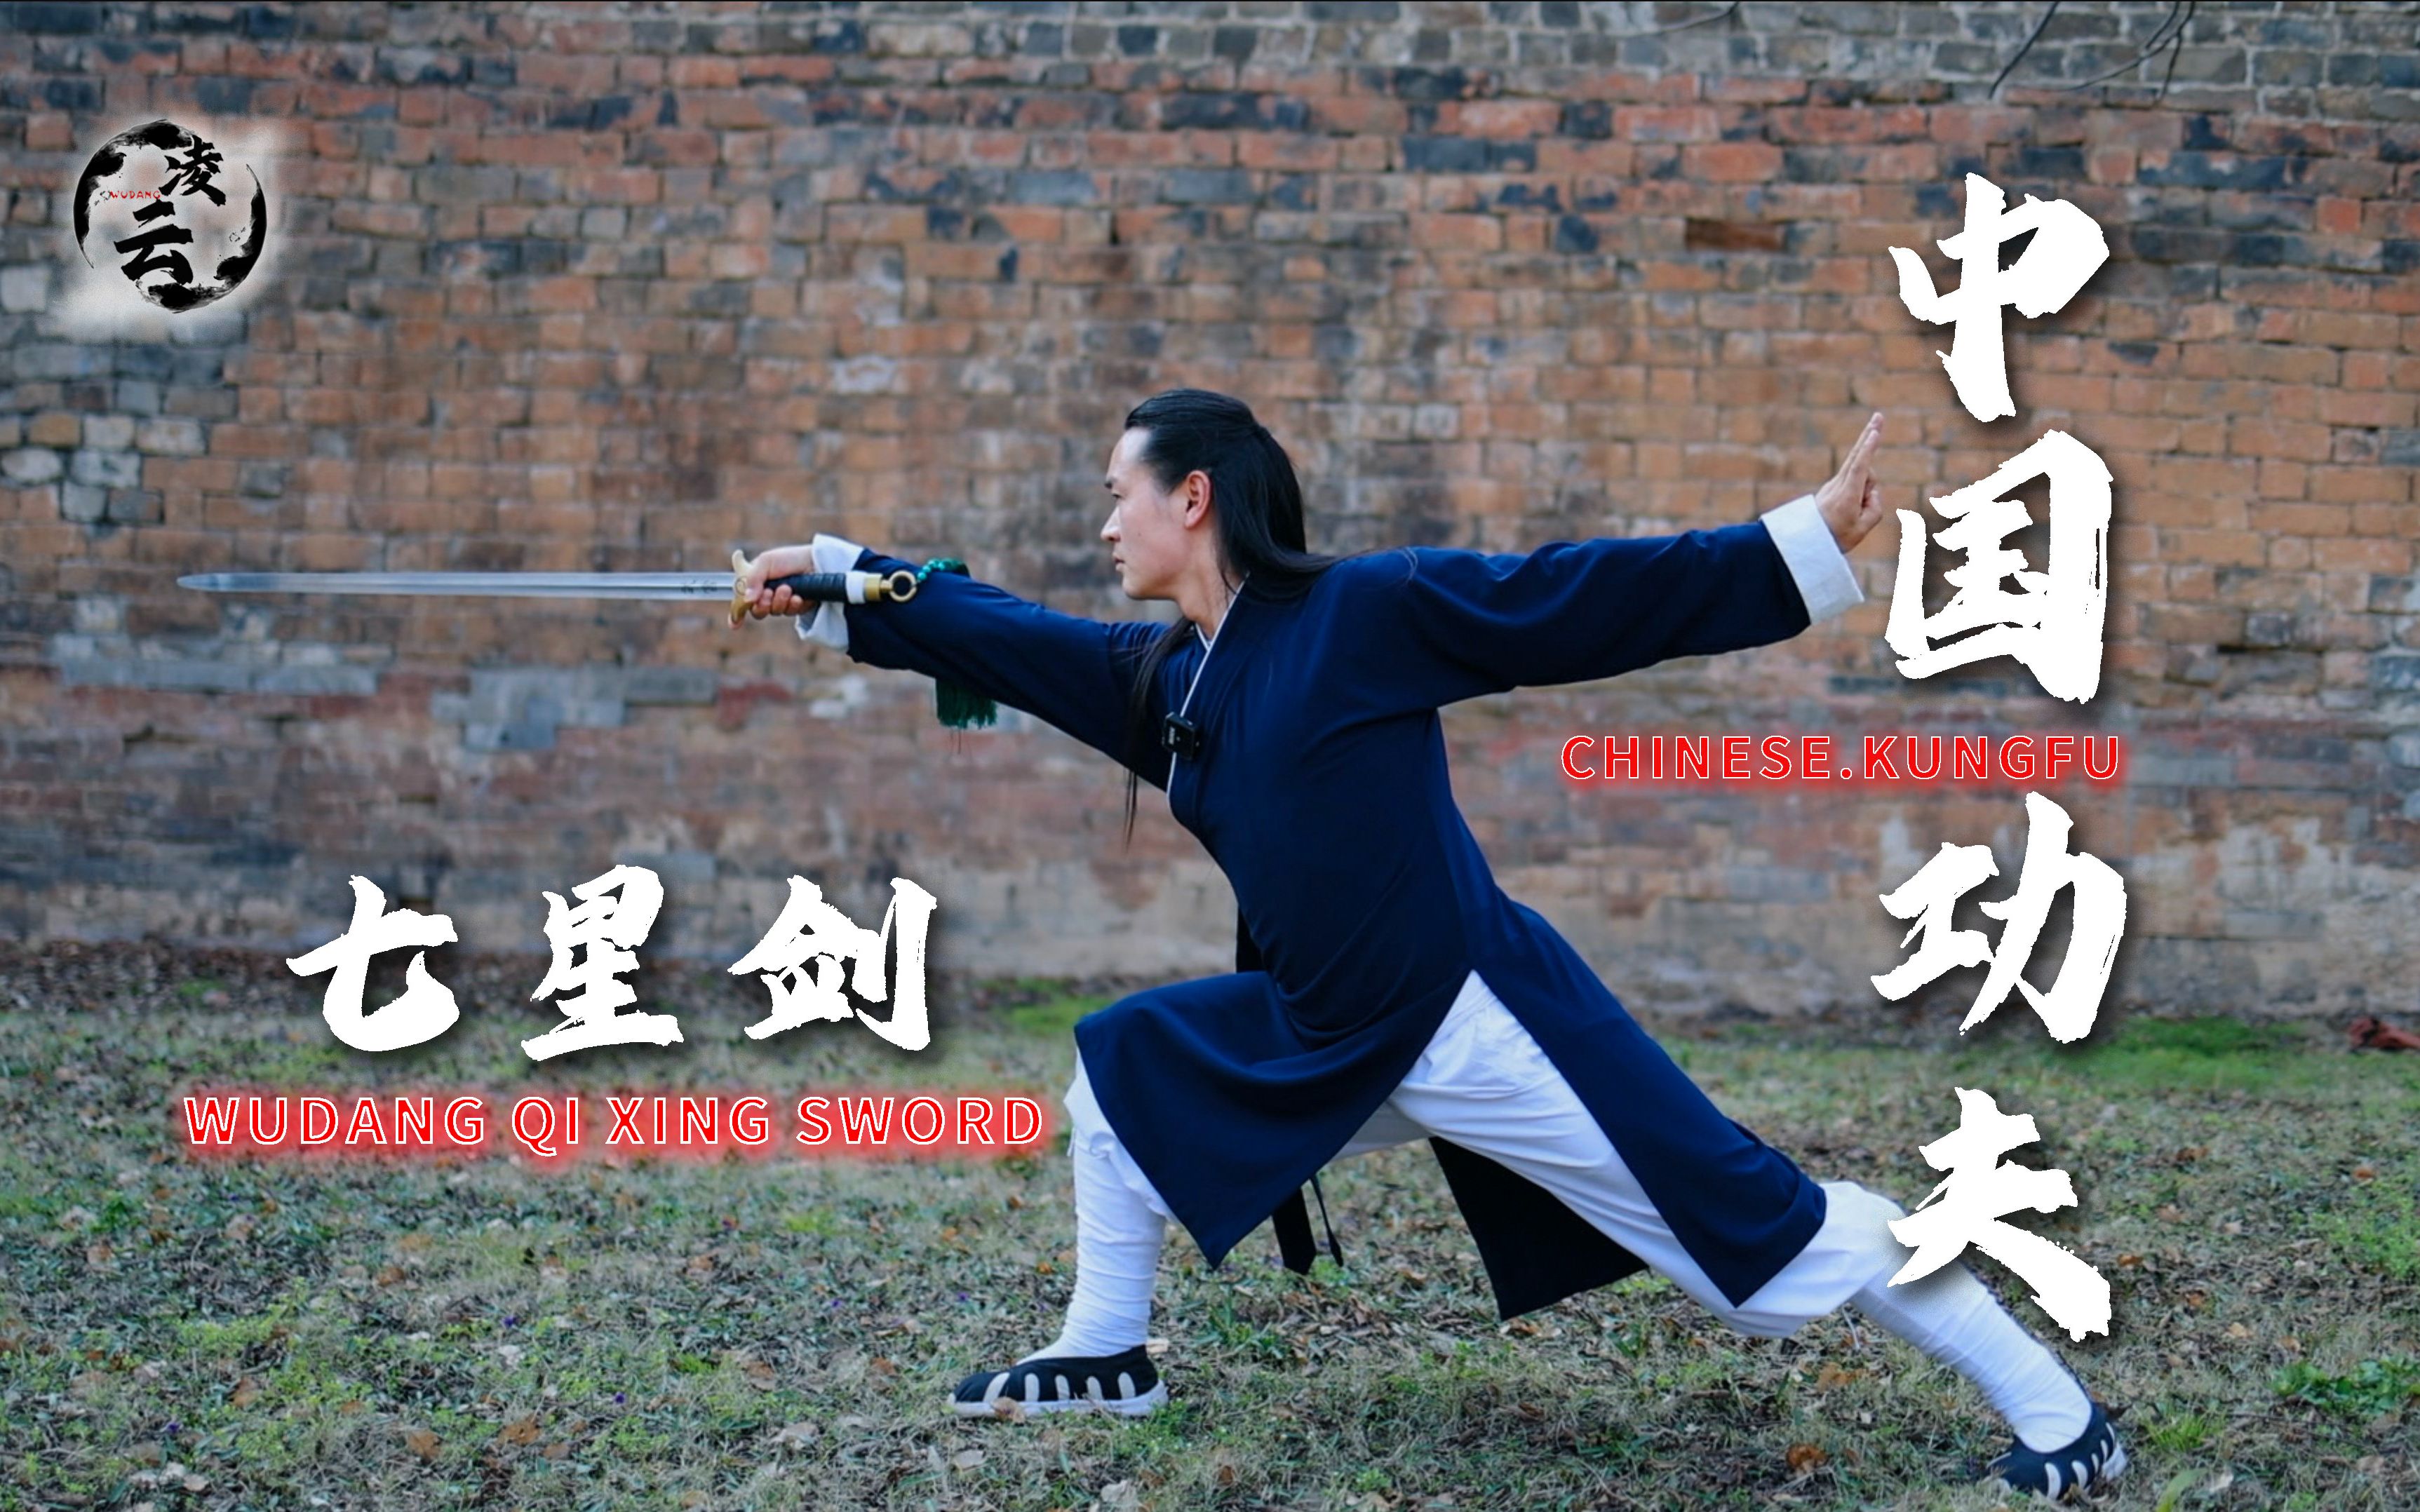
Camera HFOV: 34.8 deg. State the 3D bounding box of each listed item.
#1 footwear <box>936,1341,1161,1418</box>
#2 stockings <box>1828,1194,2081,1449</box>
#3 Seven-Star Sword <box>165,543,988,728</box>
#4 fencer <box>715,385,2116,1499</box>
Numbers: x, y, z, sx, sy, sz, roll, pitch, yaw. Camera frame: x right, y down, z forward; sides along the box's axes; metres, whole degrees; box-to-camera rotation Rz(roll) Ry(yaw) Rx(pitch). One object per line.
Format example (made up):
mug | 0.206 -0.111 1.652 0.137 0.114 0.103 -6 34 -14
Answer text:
footwear | -0.523 2.145 13.143 0.762 0.259 0.249 4 -11 -1
stockings | 2.498 1.934 13.049 0.975 0.309 0.260 39 30 -1
Seven-Star Sword | -2.126 -0.343 14.444 2.166 0.910 3.690 -1 7 2
fencer | 0.903 0.631 16.213 7.170 3.874 3.428 2 -3 2
